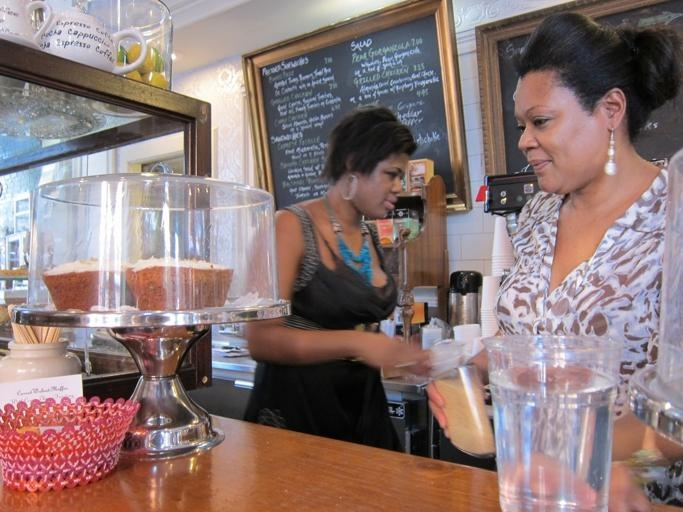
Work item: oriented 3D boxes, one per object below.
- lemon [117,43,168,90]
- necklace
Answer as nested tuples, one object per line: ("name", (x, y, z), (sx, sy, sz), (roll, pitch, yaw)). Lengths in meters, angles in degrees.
("lemon", (-0.517, -0.477, 1.408), (0.113, 0.103, 0.111), (-3, -1, -36))
("necklace", (0.035, -0.045, 1.755), (0.051, 0.264, 0.207), (-21, -11, 21))
